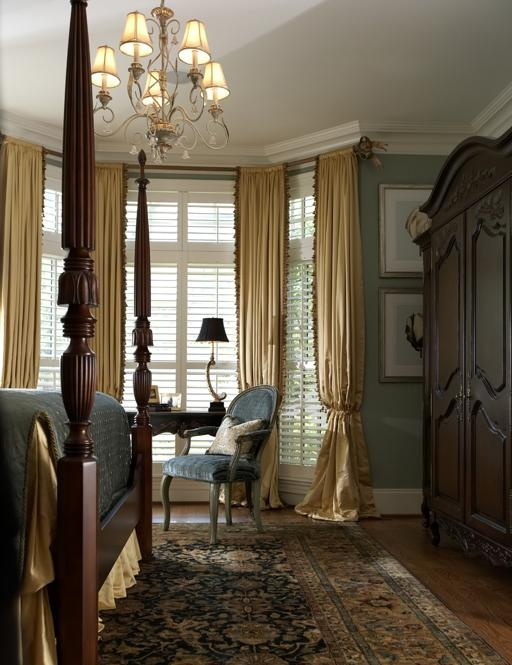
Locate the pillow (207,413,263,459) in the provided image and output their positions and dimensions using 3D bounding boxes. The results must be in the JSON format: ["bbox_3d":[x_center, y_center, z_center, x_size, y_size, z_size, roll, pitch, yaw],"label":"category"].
[{"bbox_3d":[-0.165,0.692,3.876,0.269,0.315,0.089,-4,-30,45],"label":"pillow"}]
